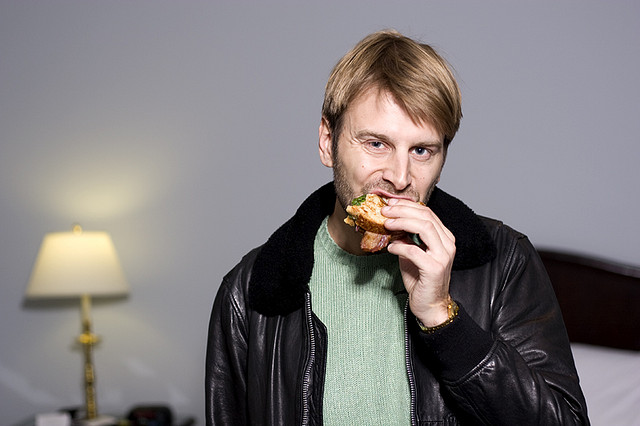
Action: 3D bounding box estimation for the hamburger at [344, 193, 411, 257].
[{"bbox_3d":[0.239,0.046,2.430,0.253,0.231,0.119,0,6,7],"label":"hamburger"}]
